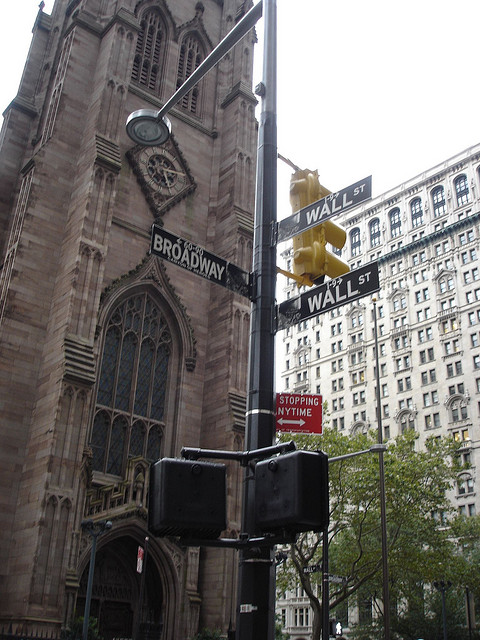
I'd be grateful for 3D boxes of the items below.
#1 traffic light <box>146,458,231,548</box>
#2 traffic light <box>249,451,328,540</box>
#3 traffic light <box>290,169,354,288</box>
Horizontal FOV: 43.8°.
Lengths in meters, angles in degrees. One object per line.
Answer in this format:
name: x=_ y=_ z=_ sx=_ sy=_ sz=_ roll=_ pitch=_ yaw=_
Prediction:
traffic light: x=-0.279 y=0.999 z=3.288 sx=0.443 sy=0.464 sz=0.354 roll=7 pitch=-22 yaw=-15
traffic light: x=0.234 y=0.890 z=3.030 sx=0.154 sy=0.420 sz=0.405 roll=22 pitch=-32 yaw=-36
traffic light: x=0.810 y=-0.943 z=6.252 sx=0.707 sy=1.356 sz=0.410 roll=19 pitch=-30 yaw=-37
